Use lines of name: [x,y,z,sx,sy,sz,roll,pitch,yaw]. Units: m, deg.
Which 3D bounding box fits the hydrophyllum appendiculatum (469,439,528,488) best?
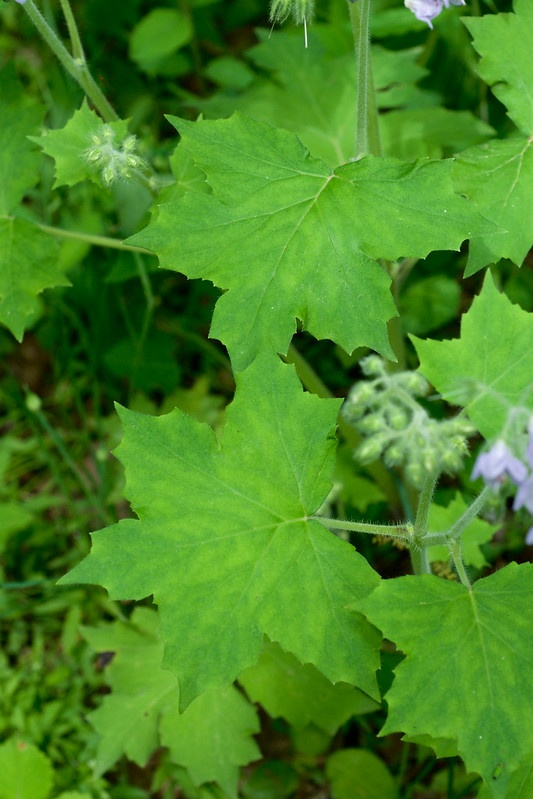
hydrophyllum appendiculatum: [0.300,0.077,0.914,0.066,0.025,0.060,8,95,7]
